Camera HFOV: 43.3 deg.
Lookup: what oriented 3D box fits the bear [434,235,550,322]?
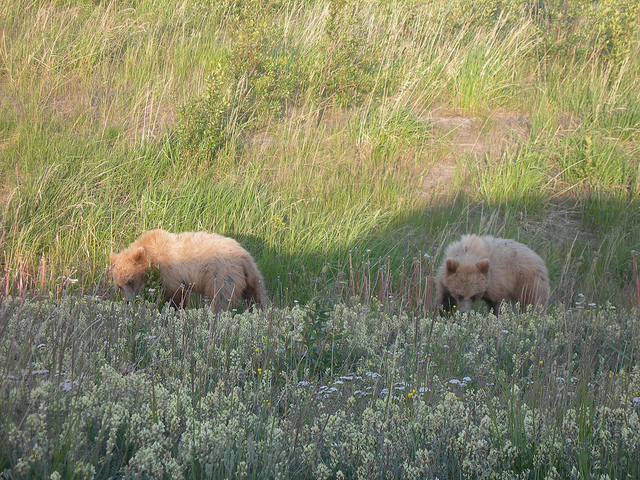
[{"bbox_3d":[2.550,0.670,12.766,1.996,1.656,1.202,-6,1,-29],"label":"bear"}]

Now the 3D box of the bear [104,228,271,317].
[{"bbox_3d":[-2.012,0.490,12.373,2.386,1.147,0.828,7,8,9],"label":"bear"}]
